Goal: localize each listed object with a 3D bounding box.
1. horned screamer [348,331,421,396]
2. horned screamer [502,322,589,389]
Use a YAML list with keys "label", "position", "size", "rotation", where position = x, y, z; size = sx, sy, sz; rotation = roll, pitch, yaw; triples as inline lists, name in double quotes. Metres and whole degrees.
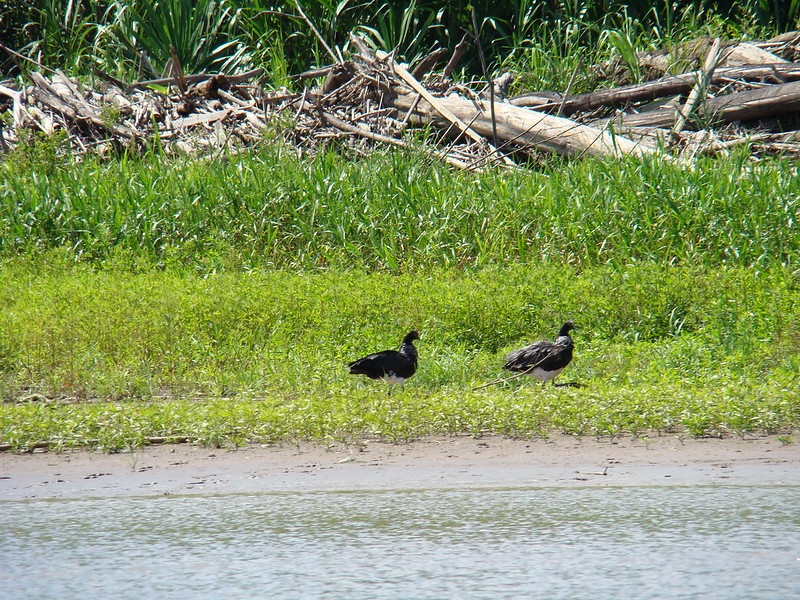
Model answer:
- label: "horned screamer"
  position: [-0.074, 0.668, 13.393]
  size: [0.839, 0.516, 0.402]
  rotation: [-12, 20, -37]
- label: "horned screamer"
  position: [1.442, 0.602, 13.348]
  size: [0.805, 0.598, 0.367]
  rotation: [-5, 1, -1]
